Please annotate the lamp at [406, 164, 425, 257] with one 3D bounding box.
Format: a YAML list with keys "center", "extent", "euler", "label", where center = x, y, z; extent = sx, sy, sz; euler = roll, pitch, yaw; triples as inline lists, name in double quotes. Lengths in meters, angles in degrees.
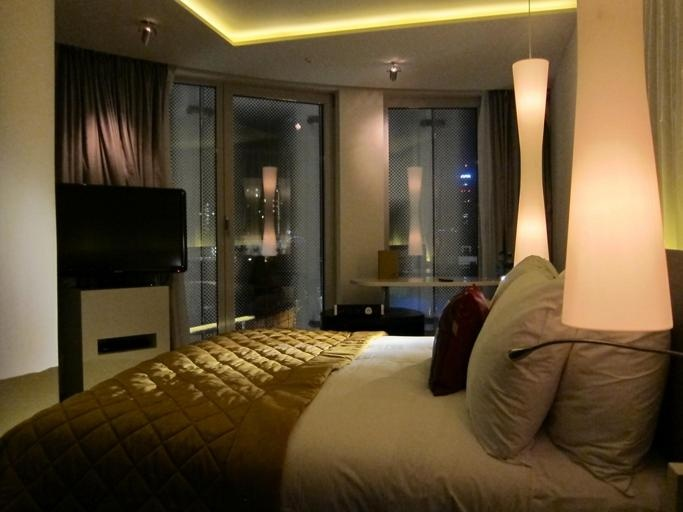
- center: [0.710, -0.428, 5.050]
  extent: [0.168, 0.883, 0.418]
  euler: [1, 7, 9]
  label: "lamp"

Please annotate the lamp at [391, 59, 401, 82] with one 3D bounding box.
- center: [0.463, -1.611, 4.513]
  extent: [0.117, 0.219, 0.120]
  euler: [0, 8, 2]
  label: "lamp"

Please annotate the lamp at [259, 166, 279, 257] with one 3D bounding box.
- center: [-0.714, -0.433, 5.078]
  extent: [0.165, 0.858, 0.116]
  euler: [-1, 7, -10]
  label: "lamp"

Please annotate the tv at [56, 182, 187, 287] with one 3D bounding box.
- center: [-1.834, -0.253, 4.282]
  extent: [1.245, 0.904, 0.679]
  euler: [3, -5, -44]
  label: "tv"
